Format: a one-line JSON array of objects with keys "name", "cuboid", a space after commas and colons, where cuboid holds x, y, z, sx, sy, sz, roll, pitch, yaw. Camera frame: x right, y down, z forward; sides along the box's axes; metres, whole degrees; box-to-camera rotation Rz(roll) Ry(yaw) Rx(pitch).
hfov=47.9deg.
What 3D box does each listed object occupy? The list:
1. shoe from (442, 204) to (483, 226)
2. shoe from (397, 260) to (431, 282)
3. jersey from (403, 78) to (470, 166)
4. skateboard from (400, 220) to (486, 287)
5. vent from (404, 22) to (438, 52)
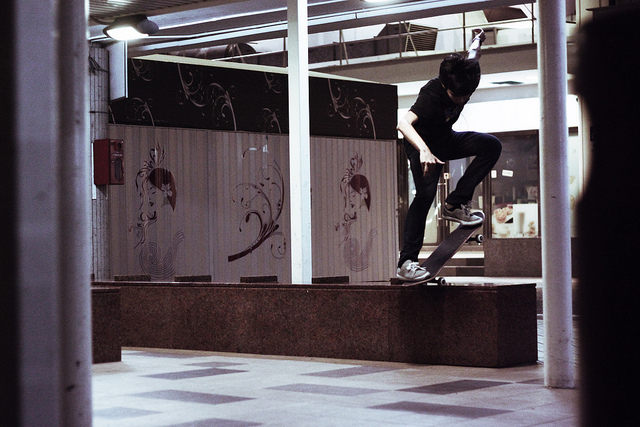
[{"name": "shoe", "cuboid": [1.117, 0.019, 5.697, 0.331, 0.164, 0.138, 8, 28, 6]}, {"name": "shoe", "cuboid": [0.737, 0.453, 5.629, 0.120, 0.119, 0.246, -1, -3, -37]}, {"name": "jersey", "cuboid": [0.899, -0.760, 5.717, 0.537, 0.735, 0.420, -1, 13, -44]}, {"name": "skateboard", "cuboid": [1.034, 0.338, 5.804, 0.282, 0.165, 1.033, -6, 27, 50]}, {"name": "vent", "cuboid": [2.140, -3.706, 15.181, 0.660, 0.717, 0.555, 2, 1, 7]}]
